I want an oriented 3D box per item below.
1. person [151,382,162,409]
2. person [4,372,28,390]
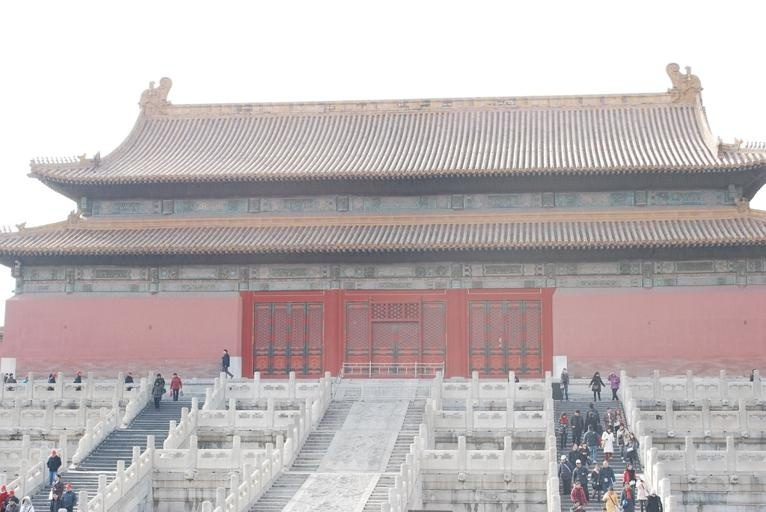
[{"bbox_3d":[-9.305,5.739,81.381,0.384,1.040,0.671,9,-30,-7],"label":"person"},{"bbox_3d":[-15.433,5.315,83.798,0.973,0.468,0.854,0,-2,-3],"label":"person"}]
